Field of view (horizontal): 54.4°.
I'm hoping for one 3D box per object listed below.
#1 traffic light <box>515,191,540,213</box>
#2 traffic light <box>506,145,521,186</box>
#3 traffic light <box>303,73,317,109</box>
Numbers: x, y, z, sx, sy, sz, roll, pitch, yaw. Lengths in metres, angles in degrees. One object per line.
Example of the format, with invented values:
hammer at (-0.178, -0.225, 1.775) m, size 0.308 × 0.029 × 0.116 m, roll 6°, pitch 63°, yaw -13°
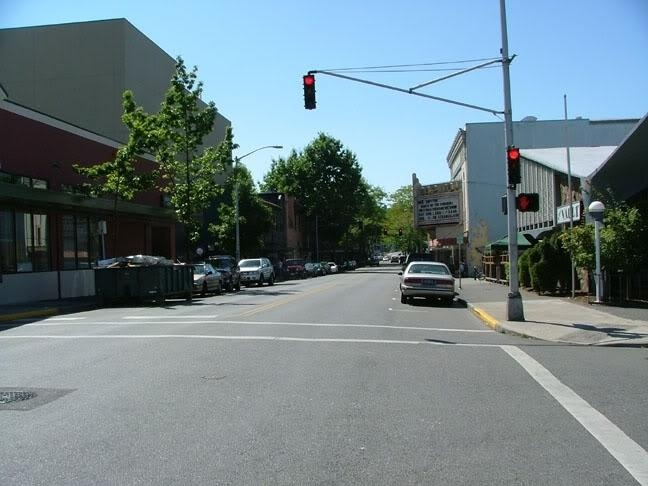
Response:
traffic light at (5.587, -1.118, 17.377) m, size 0.573 × 0.450 × 0.463 m, roll 0°, pitch 2°, yaw 14°
traffic light at (5.208, -2.115, 17.413) m, size 0.333 × 1.129 × 0.531 m, roll 0°, pitch 2°, yaw 11°
traffic light at (-0.470, -4.760, 19.663) m, size 0.324 × 1.151 × 0.646 m, roll -1°, pitch 2°, yaw -5°
